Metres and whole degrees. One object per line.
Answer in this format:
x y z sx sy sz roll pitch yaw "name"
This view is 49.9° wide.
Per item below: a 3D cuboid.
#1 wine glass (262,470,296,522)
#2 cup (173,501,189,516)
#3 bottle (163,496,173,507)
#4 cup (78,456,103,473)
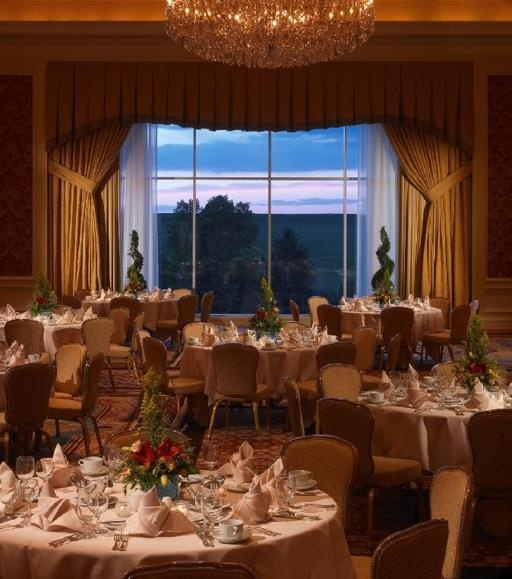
0.079 0.736 1.931 0.076 0.180 0.105 -1 -6 -8 "wine glass"
-0.248 0.730 1.843 0.041 0.056 0.048 2 4 -4 "cup"
-0.299 0.718 1.867 0.040 0.029 0.040 -1 4 0 "bottle"
-0.705 0.746 2.353 0.056 0.057 0.080 -2 4 -28 "cup"
